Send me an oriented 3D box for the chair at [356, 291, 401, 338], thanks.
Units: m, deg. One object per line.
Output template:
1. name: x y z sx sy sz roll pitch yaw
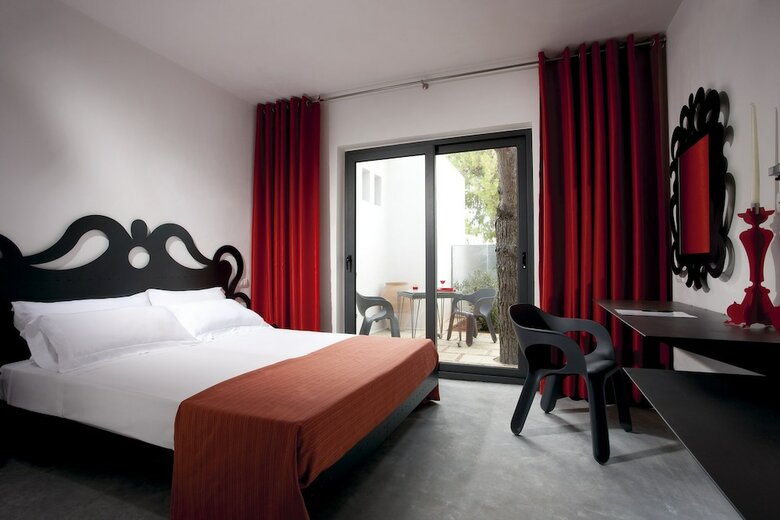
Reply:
1. chair: -0.144 0.581 5.690 0.480 0.670 0.487 -3 0 -8

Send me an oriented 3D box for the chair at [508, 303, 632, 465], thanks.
1. chair: 1.406 0.920 4.129 1.006 1.245 1.021 -4 -5 33

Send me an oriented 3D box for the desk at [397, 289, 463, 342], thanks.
1. desk: 0.429 0.652 6.273 0.660 0.698 0.671 3 -7 -35

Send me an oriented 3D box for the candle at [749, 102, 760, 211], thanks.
1. candle: 2.233 -0.657 3.021 0.056 0.660 0.350 1 5 36
